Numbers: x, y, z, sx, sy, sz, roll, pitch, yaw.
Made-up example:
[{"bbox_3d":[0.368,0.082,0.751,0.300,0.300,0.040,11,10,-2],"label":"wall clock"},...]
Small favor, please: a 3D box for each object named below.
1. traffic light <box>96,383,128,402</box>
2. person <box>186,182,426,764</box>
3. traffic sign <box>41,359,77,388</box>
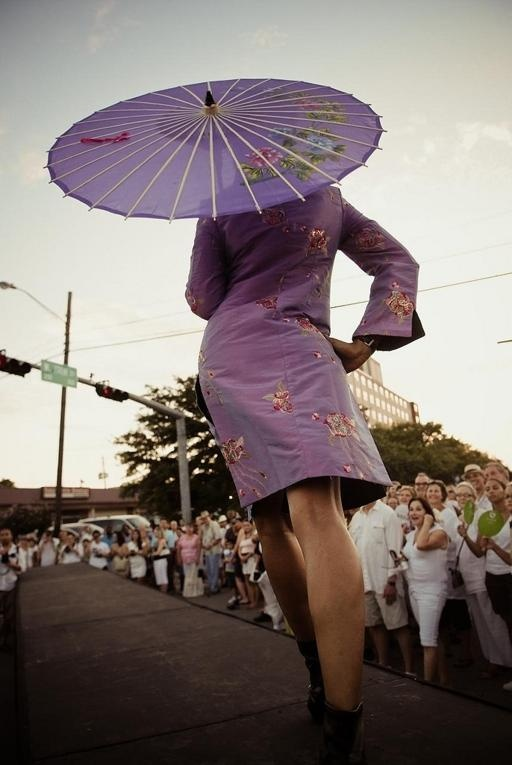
[{"bbox_3d":[-3.214,0.202,13.720,0.691,0.507,0.684,2,-14,-41],"label":"traffic light"},{"bbox_3d":[0.128,0.090,1.642,0.489,1.459,0.708,-17,-14,40],"label":"person"},{"bbox_3d":[-4.090,-0.186,12.302,0.029,0.377,0.617,-28,-31,32],"label":"traffic sign"}]
